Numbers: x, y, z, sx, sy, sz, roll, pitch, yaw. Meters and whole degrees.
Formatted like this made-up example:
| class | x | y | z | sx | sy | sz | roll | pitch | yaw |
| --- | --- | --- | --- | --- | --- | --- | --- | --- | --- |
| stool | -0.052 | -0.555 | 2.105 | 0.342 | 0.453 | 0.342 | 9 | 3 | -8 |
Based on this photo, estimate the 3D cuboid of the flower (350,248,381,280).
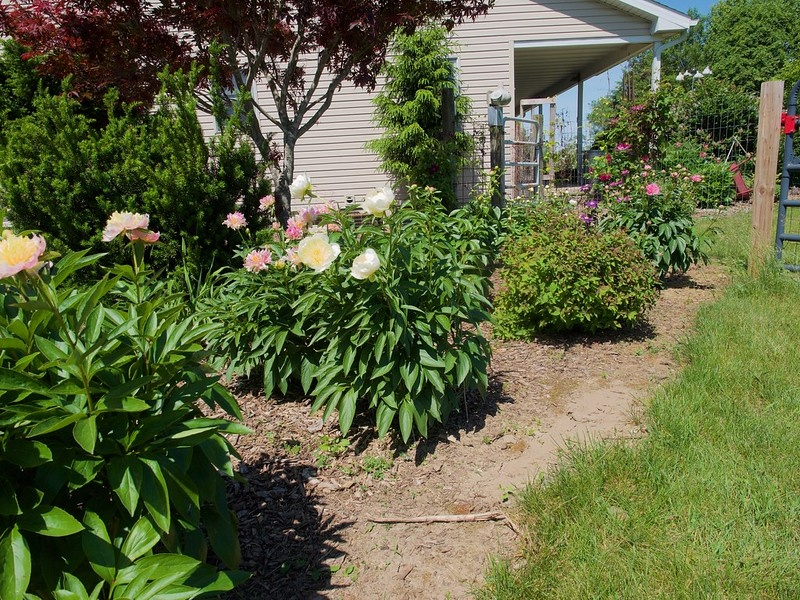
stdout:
| class | x | y | z | sx | sy | sz | roll | pitch | yaw |
| --- | --- | --- | --- | --- | --- | --- | --- | --- | --- |
| flower | -0.184 | -0.189 | 3.241 | 0.133 | 0.185 | 0.155 | -2 | 15 | 5 |

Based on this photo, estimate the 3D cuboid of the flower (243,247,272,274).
| class | x | y | z | sx | sy | sz | roll | pitch | yaw |
| --- | --- | --- | --- | --- | --- | --- | --- | --- | --- |
| flower | -1.016 | -0.274 | 4.215 | 0.176 | 0.170 | 0.271 | -6 | 16 | -9 |

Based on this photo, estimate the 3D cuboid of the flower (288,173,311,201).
| class | x | y | z | sx | sy | sz | roll | pitch | yaw |
| --- | --- | --- | --- | --- | --- | --- | --- | --- | --- |
| flower | -0.641 | -0.731 | 3.774 | 0.122 | 0.180 | 0.466 | -5 | 16 | -9 |

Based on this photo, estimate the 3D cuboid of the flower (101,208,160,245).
| class | x | y | z | sx | sy | sz | roll | pitch | yaw |
| --- | --- | --- | --- | --- | --- | --- | --- | --- | --- |
| flower | -1.253 | -0.330 | 2.734 | 0.215 | 0.182 | 0.254 | -10 | 17 | -23 |

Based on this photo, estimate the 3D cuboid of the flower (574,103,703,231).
| class | x | y | z | sx | sy | sz | roll | pitch | yaw |
| --- | --- | --- | --- | --- | --- | --- | --- | --- | --- |
| flower | 2.926 | -1.693 | 7.220 | 1.166 | 1.630 | 2.788 | 2 | 17 | 18 |

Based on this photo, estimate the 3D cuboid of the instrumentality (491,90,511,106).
| class | x | y | z | sx | sy | sz | roll | pitch | yaw |
| --- | --- | --- | --- | --- | --- | --- | --- | --- | --- |
| instrumentality | 1.390 | -2.809 | 8.114 | 0.243 | 0.214 | 0.390 | -1 | 16 | 7 |

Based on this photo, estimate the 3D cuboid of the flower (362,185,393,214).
| class | x | y | z | sx | sy | sz | roll | pitch | yaw |
| --- | --- | --- | --- | --- | --- | --- | --- | --- | --- |
| flower | -0.117 | -0.561 | 3.369 | 0.186 | 0.168 | 0.180 | -8 | 16 | -16 |
